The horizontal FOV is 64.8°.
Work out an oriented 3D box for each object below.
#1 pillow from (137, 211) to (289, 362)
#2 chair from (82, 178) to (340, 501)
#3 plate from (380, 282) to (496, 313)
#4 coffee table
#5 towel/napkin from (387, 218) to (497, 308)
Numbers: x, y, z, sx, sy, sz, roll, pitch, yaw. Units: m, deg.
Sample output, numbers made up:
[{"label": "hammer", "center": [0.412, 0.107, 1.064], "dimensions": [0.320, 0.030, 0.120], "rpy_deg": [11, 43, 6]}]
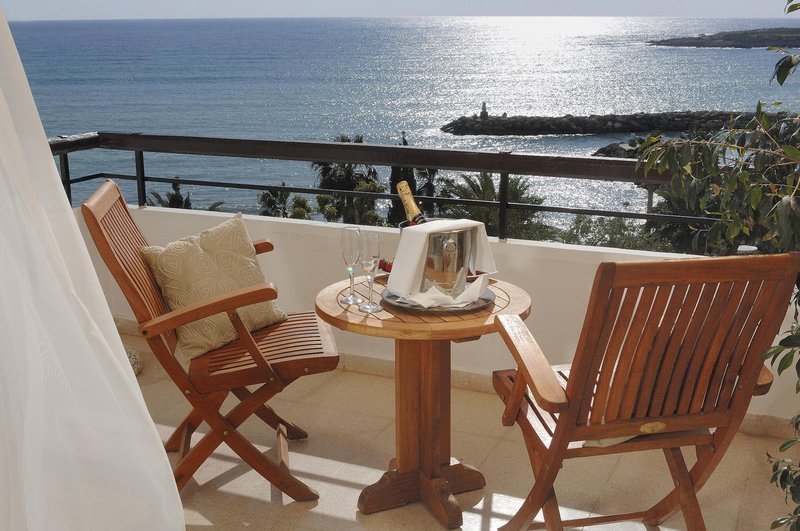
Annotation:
[{"label": "pillow", "center": [-0.850, 0.110, 2.963], "dimensions": [0.743, 0.629, 0.426], "rpy_deg": [-26, 10, -40]}, {"label": "chair", "center": [-0.749, 0.385, 3.083], "dimensions": [1.038, 1.506, 0.943], "rpy_deg": [-1, 17, -3]}, {"label": "plate", "center": [0.148, 0.138, 2.531], "dimensions": [0.458, 0.031, 0.225], "rpy_deg": [-1, 23, 4]}, {"label": "coffee table", "center": [0.089, 0.557, 2.898], "dimensions": [0.926, 0.937, 1.045], "rpy_deg": [0, 16, -2]}, {"label": "towel/napkin", "center": [0.198, -0.028, 2.568], "dimensions": [0.407, 0.334, 0.375], "rpy_deg": [-6, 4, -43]}]
